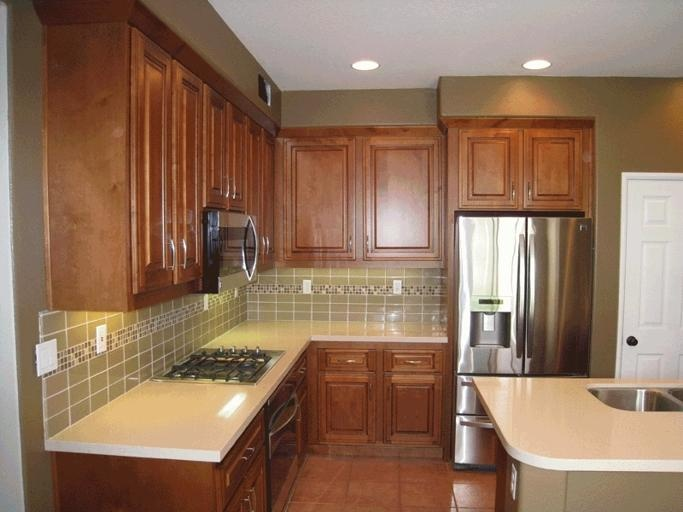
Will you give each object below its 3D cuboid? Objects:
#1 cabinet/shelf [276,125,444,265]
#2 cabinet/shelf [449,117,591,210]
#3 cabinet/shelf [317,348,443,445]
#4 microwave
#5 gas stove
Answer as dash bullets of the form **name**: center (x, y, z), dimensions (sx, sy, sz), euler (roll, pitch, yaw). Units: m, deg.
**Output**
- **cabinet/shelf**: center (0.147, -0.498, 4.579), dimensions (1.289, 1.154, 0.472), euler (0, 16, 4)
- **cabinet/shelf**: center (1.313, -0.656, 4.259), dimensions (1.125, 0.724, 0.392), euler (-1, 2, -5)
- **cabinet/shelf**: center (0.321, 1.040, 4.181), dimensions (0.712, 0.542, 0.284), euler (0, -1, 3)
- **microwave**: center (-0.659, -0.036, 3.279), dimensions (0.174, 0.368, 0.588), euler (0, 0, 4)
- **gas stove**: center (-0.730, 0.656, 3.463), dimensions (0.632, 0.062, 0.658), euler (2, 8, 10)
